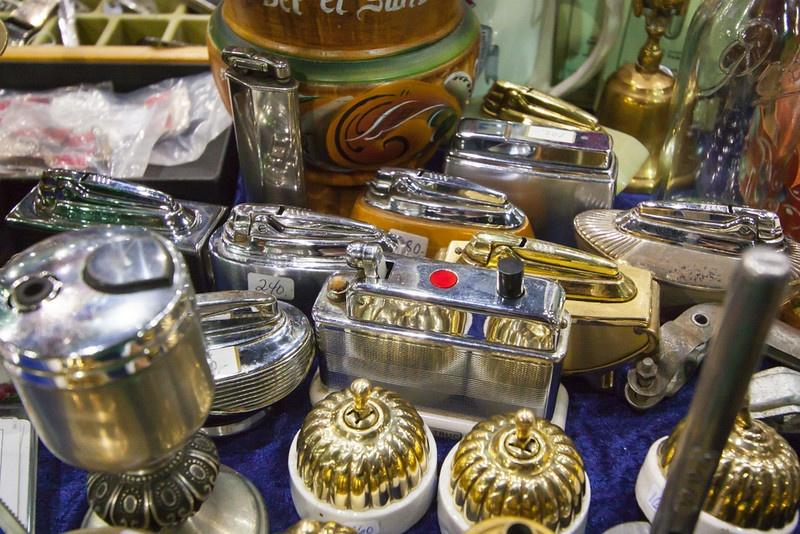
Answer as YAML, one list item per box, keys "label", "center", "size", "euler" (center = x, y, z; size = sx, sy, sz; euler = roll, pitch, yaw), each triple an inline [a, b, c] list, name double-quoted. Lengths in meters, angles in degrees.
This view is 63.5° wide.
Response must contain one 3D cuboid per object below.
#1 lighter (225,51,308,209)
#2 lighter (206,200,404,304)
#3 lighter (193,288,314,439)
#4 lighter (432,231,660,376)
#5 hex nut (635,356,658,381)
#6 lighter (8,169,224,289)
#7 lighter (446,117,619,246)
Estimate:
- label: "lighter"
  center: [-0.180, -0.179, 0.856]
  size: [0.090, 0.236, 0.056]
  euler: [17, 49, 8]
- label: "lighter"
  center: [-0.118, 0.001, 0.822]
  size: [0.202, 0.140, 0.122]
  euler: [10, 46, 0]
- label: "lighter"
  center: [-0.167, 0.097, 0.730]
  size: [0.135, 0.113, 0.149]
  euler: [-12, 40, -16]
- label: "lighter"
  center: [0.169, 0.051, 0.767]
  size: [0.226, 0.131, 0.146]
  euler: [12, 43, 9]
- label: "hex nut"
  center: [0.297, 0.121, 0.778]
  size: [0.023, 0.029, 0.028]
  euler: [11, 63, 20]
- label: "lighter"
  center: [-0.308, -0.044, 0.701]
  size: [0.130, 0.108, 0.054]
  euler: [15, 46, 4]
- label: "lighter"
  center: [0.173, -0.114, 0.860]
  size: [0.139, 0.145, 0.053]
  euler: [11, 41, 14]
